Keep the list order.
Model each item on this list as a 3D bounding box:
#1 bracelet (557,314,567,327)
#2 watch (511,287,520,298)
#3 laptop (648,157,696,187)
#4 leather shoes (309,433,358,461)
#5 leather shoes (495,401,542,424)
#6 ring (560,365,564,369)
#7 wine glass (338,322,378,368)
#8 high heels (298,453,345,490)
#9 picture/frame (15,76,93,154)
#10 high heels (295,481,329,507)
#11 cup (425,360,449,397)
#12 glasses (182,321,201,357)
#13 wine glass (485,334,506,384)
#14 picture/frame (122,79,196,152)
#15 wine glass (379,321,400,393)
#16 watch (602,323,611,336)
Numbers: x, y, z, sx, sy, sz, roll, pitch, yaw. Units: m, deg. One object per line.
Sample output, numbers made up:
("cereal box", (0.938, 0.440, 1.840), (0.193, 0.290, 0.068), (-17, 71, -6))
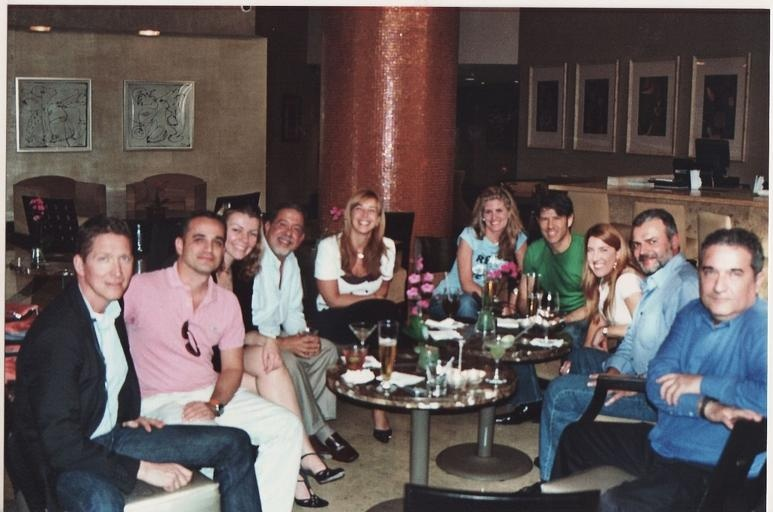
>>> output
("bracelet", (1.086, 0.400, 4.353), (0.078, 0.039, 0.054), (18, -36, -25))
("watch", (0.845, 0.235, 4.599), (0.020, 0.053, 0.041), (16, 1, 40))
("laptop", (2.181, -0.608, 5.272), (0.176, 0.160, 0.243), (0, 2, -16))
("leather shoes", (-0.321, 1.138, 4.186), (0.242, 0.090, 0.078), (23, 22, -9))
("leather shoes", (0.868, 1.013, 4.601), (0.393, 0.159, 0.117), (1, 4, 4))
("ring", (1.079, 0.677, 4.307), (0.022, 0.016, 0.008), (-13, -14, 31))
("wine glass", (-0.146, 0.471, 3.737), (0.160, 0.249, 0.158), (-3, 7, -4))
("high heels", (-0.387, 1.198, 3.994), (0.346, 0.139, 0.117), (8, 10, 28))
("picture/frame", (-2.189, -0.930, 4.655), (0.051, 0.481, 0.603), (13, 17, 21))
("high heels", (-0.409, 1.310, 3.892), (0.266, 0.103, 0.089), (3, 9, 41))
("cup", (0.257, 0.623, 3.607), (0.111, 0.162, 0.172), (-2, 7, 4))
("glasses", (-1.033, 0.443, 3.771), (0.105, 0.164, 0.035), (-7, 16, 10))
("wine glass", (0.592, 0.543, 3.794), (0.090, 0.243, 0.277), (-1, 7, 9))
("picture/frame", (-1.704, -1.052, 5.288), (0.576, 0.546, 0.039), (2, 3, 8))
("wine glass", (0.013, 0.499, 3.662), (0.093, 0.338, 0.213), (-2, 7, -1))
("watch", (1.335, 0.452, 4.266), (0.016, 0.046, 0.047), (8, -6, -32))
